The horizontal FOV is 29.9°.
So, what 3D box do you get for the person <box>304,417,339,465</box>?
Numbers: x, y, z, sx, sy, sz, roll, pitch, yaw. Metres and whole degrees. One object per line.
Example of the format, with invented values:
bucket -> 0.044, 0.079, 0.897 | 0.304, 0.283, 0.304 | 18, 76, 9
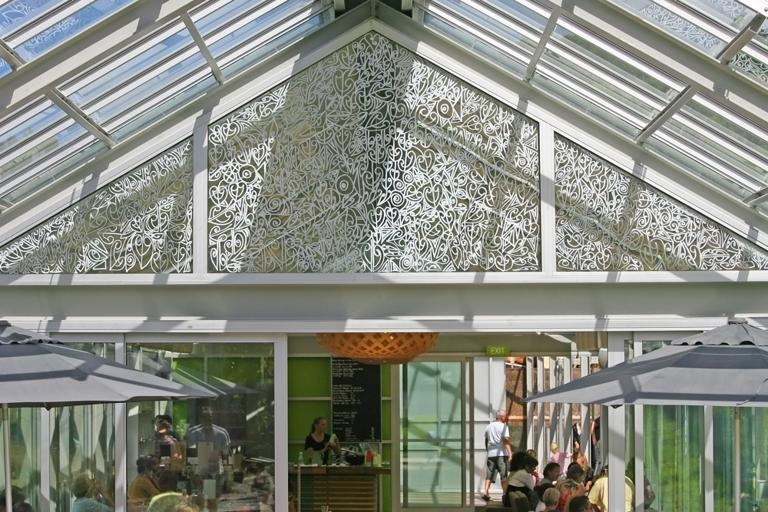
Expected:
person -> -0.968, 2.820, 21.801 | 0.352, 0.812, 0.450 | 12, -33, -33
